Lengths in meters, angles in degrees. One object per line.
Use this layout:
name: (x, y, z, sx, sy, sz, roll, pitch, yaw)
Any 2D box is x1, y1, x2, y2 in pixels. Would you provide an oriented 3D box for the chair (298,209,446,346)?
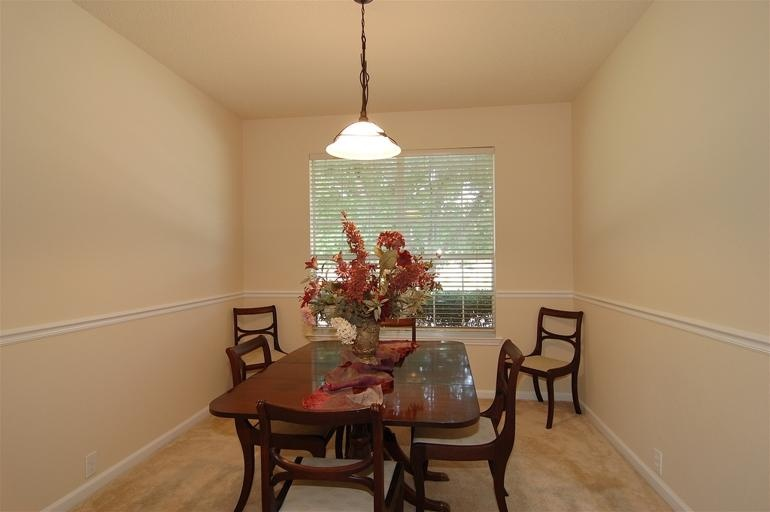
chair: (-0.111, 0.241, 4.407, 1.208, 1.211, 0.917, -5, -6, 13)
